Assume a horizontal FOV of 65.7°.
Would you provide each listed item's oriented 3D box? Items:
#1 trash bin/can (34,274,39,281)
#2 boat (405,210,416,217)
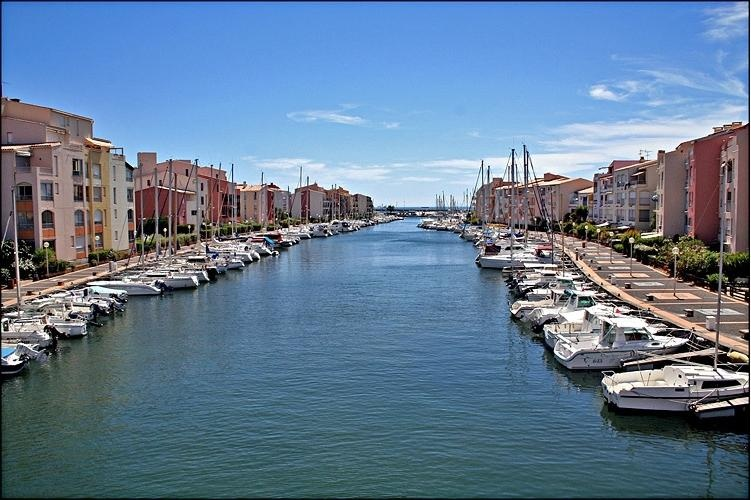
[{"bbox_3d":[-39.900,3.137,68.413,0.685,0.700,0.654,-3,7,-26],"label":"trash bin/can"},{"bbox_3d":[31.255,-32.614,513.584,7.708,3.619,21.912,3,12,12],"label":"boat"}]
